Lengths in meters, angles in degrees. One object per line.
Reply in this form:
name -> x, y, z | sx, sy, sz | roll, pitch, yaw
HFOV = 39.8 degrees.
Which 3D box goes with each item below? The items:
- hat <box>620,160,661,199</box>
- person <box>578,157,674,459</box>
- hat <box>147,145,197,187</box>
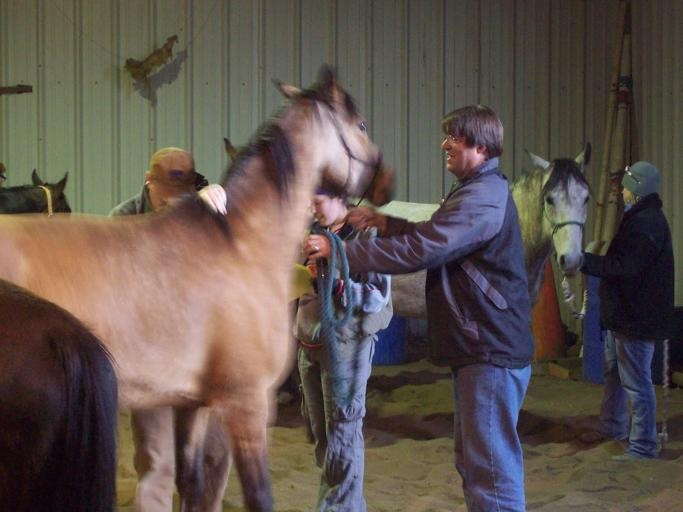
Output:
hat -> 2.680, -0.708, 8.424 | 0.242, 0.278, 0.340 | -3, 36, -28
person -> 2.532, 0.434, 8.259 | 0.679, 2.540, 0.673 | 0, 0, 21
hat -> -1.235, -0.674, 6.962 | 0.231, 0.345, 0.300 | -3, -20, -24
